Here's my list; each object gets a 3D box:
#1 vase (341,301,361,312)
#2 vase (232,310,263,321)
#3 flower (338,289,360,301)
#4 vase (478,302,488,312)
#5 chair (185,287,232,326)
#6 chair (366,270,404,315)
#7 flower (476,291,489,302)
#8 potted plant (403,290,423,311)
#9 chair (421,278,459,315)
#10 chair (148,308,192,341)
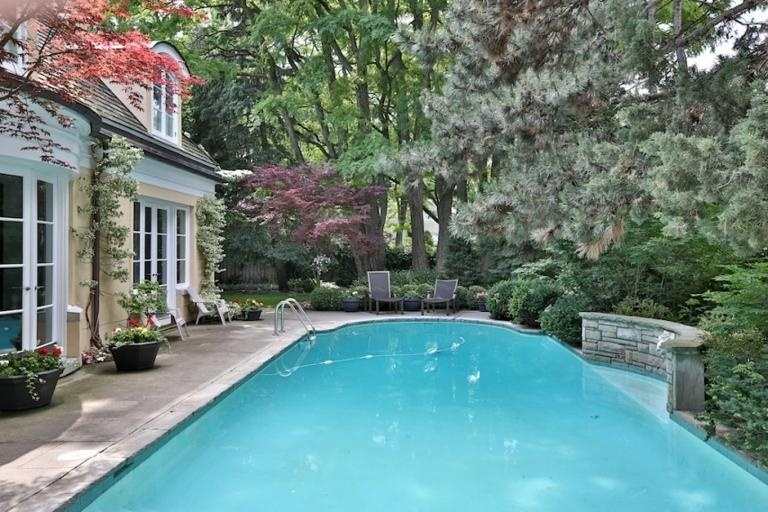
[{"bbox_3d":[-1.028,1.533,16.957,0.378,0.233,0.390,-1,-4,9],"label":"vase"},{"bbox_3d":[-3.647,1.523,14.323,0.752,0.306,0.435,-1,6,-10],"label":"vase"},{"bbox_3d":[-1.069,1.204,17.106,0.399,0.244,0.403,-5,-3,38],"label":"flower"},{"bbox_3d":[3.098,1.575,17.008,0.273,0.239,0.237,0,-3,0],"label":"vase"},{"bbox_3d":[-4.316,1.218,13.394,1.000,0.881,0.729,1,2,-1],"label":"chair"},{"bbox_3d":[-0.016,1.076,16.107,0.768,1.170,1.267,1,2,-15],"label":"chair"},{"bbox_3d":[3.118,1.261,17.198,0.291,0.229,0.300,-2,-2,27],"label":"flower"},{"bbox_3d":[0.863,1.369,16.791,0.560,0.432,0.579,0,-8,-2],"label":"potted plant"},{"bbox_3d":[1.759,1.196,16.192,0.743,0.936,1.333,1,1,19],"label":"chair"},{"bbox_3d":[-4.571,1.441,11.812,0.827,0.836,0.670,-1,3,-1],"label":"chair"}]
